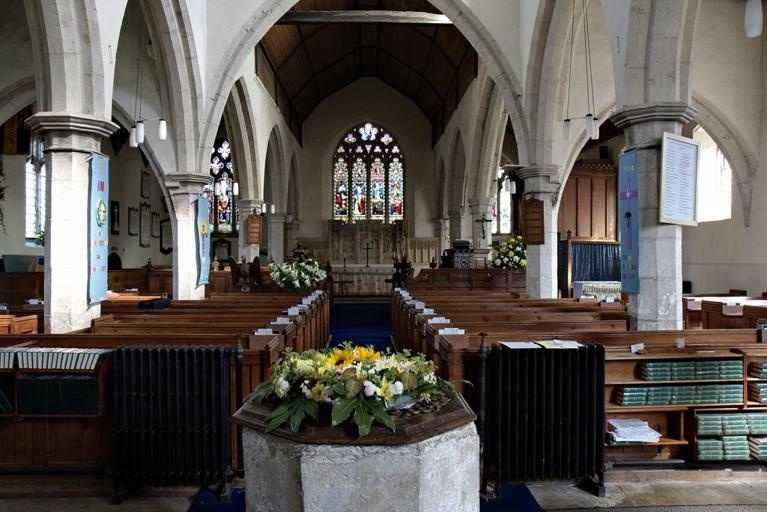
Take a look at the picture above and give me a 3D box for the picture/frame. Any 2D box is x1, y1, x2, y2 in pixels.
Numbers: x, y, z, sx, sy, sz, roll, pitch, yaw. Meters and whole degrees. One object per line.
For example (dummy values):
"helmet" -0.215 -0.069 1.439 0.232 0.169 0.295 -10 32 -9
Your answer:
"picture/frame" 3.861 -0.989 10.158 0.690 1.172 0.211 0 -3 -27

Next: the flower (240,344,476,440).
"flower" -0.321 1.243 7.240 1.812 0.831 0.491 -1 -2 7

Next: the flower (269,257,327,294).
"flower" -1.572 0.357 13.978 0.927 0.585 0.727 0 -2 -18

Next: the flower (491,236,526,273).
"flower" 2.707 -0.048 16.852 0.641 0.724 0.998 -1 -2 2
